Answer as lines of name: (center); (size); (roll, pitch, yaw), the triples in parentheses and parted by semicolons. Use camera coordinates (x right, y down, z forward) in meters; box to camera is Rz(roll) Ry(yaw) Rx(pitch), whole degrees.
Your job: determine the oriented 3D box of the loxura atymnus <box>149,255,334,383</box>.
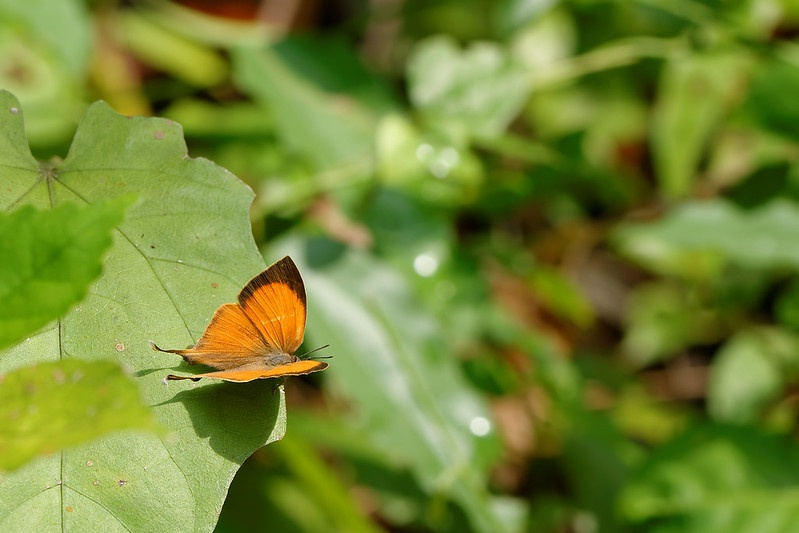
loxura atymnus: (-0.137, 0.062, 0.813); (0.135, 0.069, 0.124); (-5, 46, -11)
